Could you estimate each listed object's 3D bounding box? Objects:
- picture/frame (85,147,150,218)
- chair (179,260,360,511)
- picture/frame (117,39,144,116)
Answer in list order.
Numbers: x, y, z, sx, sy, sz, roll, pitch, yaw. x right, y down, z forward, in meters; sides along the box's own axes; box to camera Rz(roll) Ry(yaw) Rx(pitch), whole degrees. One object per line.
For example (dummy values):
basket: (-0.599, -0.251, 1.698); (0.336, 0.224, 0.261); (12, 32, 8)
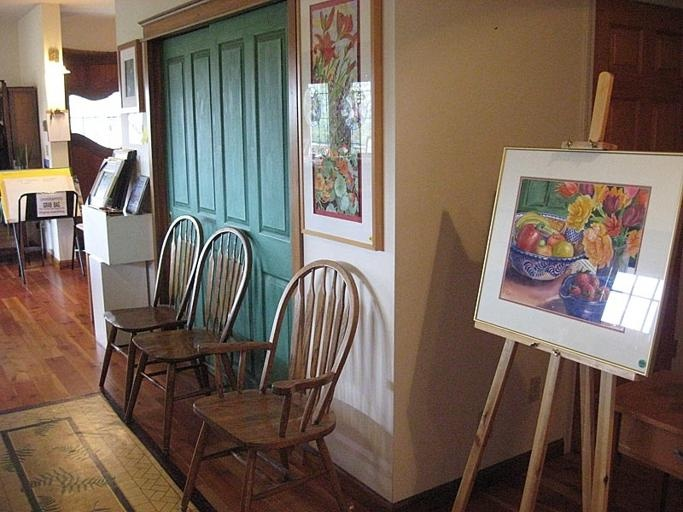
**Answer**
picture/frame: (-1.819, -0.606, 4.251); (0.386, 0.474, 0.723); (-7, 15, -32)
chair: (-0.323, 0.583, 2.410); (0.728, 1.121, 0.890); (-2, 13, -10)
picture/frame: (-1.612, -1.344, 4.070); (0.050, 0.499, 0.410); (-8, 15, -40)
